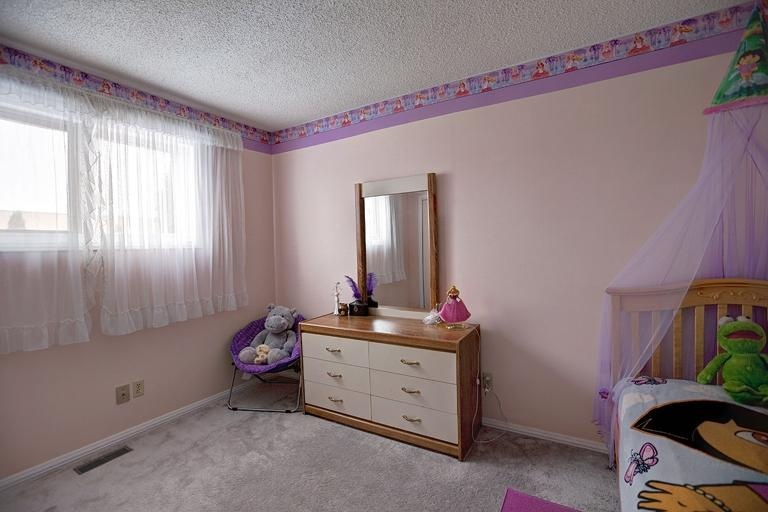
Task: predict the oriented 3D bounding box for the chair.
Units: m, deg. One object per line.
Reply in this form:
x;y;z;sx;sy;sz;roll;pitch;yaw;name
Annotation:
-1.185;0.998;5.144;0.754;0.910;0.791;-1;6;-7;chair

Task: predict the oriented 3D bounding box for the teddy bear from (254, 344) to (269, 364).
-1.219;0.975;5.005;0.148;0.166;0.147;-3;4;-12;teddy bear

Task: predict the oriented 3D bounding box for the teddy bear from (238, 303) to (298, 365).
-1.145;0.833;5.165;0.515;0.631;0.585;3;-1;34;teddy bear

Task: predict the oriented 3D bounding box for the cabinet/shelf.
0.033;1.117;4.769;1.757;0.958;0.675;2;9;30;cabinet/shelf

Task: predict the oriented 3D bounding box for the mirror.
0.123;-0.140;4.926;0.870;1.262;0.134;0;5;30;mirror

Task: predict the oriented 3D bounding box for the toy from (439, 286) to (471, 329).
0.623;0.416;4.495;0.289;0.314;0.198;-3;17;4;toy
